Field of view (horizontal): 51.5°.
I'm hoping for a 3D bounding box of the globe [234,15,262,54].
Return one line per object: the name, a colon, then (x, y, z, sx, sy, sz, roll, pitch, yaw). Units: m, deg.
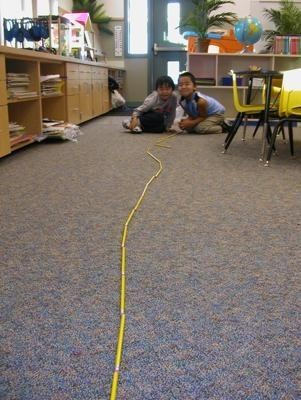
globe: (1.323, -2.247, 4.221, 0.466, 0.435, 0.458, 8, 33, 15)
